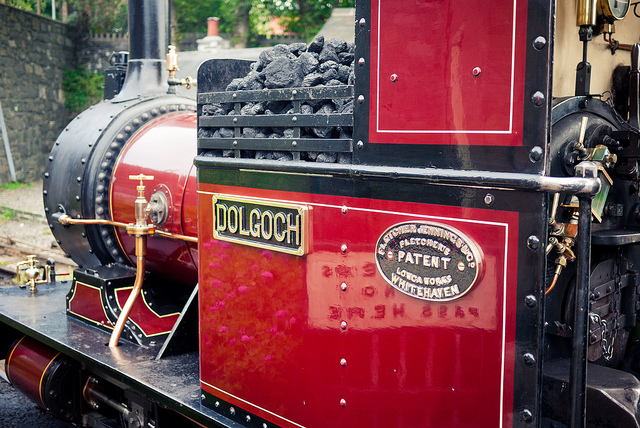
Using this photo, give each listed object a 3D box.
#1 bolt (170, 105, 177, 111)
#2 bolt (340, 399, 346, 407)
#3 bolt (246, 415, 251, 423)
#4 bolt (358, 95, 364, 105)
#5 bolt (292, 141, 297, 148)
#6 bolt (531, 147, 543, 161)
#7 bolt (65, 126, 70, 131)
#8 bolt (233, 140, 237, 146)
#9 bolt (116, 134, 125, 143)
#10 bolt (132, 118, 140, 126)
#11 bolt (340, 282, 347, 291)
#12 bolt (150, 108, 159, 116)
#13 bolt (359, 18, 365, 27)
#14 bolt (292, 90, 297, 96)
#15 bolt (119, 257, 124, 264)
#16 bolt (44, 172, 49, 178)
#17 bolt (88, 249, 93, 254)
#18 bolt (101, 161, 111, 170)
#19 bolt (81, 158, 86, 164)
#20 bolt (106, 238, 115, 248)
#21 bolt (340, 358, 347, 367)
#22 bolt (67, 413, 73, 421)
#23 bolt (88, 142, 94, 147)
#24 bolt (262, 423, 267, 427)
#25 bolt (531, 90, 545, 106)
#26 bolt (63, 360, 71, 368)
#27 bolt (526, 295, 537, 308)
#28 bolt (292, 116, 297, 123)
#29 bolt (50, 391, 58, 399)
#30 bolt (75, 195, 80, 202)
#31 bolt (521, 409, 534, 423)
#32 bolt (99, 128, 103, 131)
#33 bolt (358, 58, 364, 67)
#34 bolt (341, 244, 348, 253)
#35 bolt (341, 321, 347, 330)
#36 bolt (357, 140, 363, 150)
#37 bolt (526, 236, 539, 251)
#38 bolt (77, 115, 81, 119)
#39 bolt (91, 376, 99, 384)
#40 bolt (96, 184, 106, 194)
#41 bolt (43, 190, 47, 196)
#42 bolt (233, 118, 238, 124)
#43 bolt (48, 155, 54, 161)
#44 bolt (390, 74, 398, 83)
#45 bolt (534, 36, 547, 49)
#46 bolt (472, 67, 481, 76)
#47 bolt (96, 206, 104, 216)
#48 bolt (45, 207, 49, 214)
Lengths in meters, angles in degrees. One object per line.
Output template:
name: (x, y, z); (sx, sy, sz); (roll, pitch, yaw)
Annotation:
bolt: (-1.095, -0.785, 4.669); (0.032, 0.045, 0.036); (2, 13, 5)
bolt: (0.102, 0.869, 2.893); (0.021, 0.027, 0.029); (3, 8, -1)
bolt: (-0.369, 1.042, 3.203); (0.028, 0.028, 0.027); (-8, 11, -44)
bolt: (0.181, -0.512, 2.828); (0.029, 0.035, 0.008); (1, 2, 33)
bolt: (-0.126, -0.335, 3.010); (0.025, 0.030, 0.007); (-1, 1, 25)
bolt: (0.849, -0.236, 2.472); (0.035, 0.049, 0.042); (8, -26, 25)
bolt: (-1.915, -0.651, 4.763); (0.046, 0.028, 0.030); (-7, 26, 37)
bolt: (-0.437, -0.361, 3.213); (0.015, 0.019, 0.012); (14, -14, -9)
bolt: (-1.421, -0.540, 4.463); (0.042, 0.058, 0.047); (7, 31, -15)
bolt: (-1.330, -0.657, 4.511); (0.042, 0.035, 0.043); (15, 18, 40)
bolt: (0.106, 0.331, 2.860); (0.026, 0.029, 0.007); (4, 1, 43)
bolt: (-1.214, -0.741, 4.584); (0.045, 0.038, 0.050); (9, 13, 24)
bolt: (0.184, -0.852, 2.801); (0.022, 0.035, 0.007); (-2, -7, 19)
bolt: (-0.126, -0.580, 3.011); (0.019, 0.023, 0.012); (0, -4, 10)
bolt: (-1.456, 0.335, 4.582); (0.035, 0.031, 0.038); (4, 6, 23)
bolt: (-2.038, -0.291, 4.691); (0.033, 0.034, 0.032); (6, 17, 18)
bolt: (-1.675, 0.273, 4.571); (0.023, 0.027, 0.006); (5, 7, 28)
bolt: (-1.511, -0.339, 4.423); (0.047, 0.064, 0.049); (5, 9, -27)
bolt: (-1.677, -0.376, 4.447); (0.044, 0.041, 0.011); (-2, -6, 39)
bolt: (-1.518, 0.207, 4.537); (0.062, 0.068, 0.026); (5, -6, -37)
bolt: (0.104, 0.680, 2.882); (0.023, 0.037, 0.011); (5, -2, 19)
bolt: (-1.736, 1.403, 4.350); (0.033, 0.037, 0.036); (-18, 42, -7)
bolt: (-1.630, -0.497, 4.466); (0.045, 0.034, 0.011); (-1, -5, 35)
bolt: (-0.280, 1.054, 3.147); (0.029, 0.018, 0.004); (-1, -5, 31)
bolt: (0.850, -0.456, 2.462); (0.049, 0.054, 0.009); (0, -5, 20)
bolt: (-1.743, 1.031, 4.328); (0.040, 0.043, 0.013); (35, -21, -25)
bolt: (0.829, 0.342, 2.479); (0.036, 0.040, 0.022); (-30, -21, 22)
bolt: (-0.124, -0.452, 3.006); (0.026, 0.029, 0.006); (0, -5, 26)
bolt: (-1.816, 1.233, 4.285); (0.010, 0.046, 0.041); (4, -15, 46)
bolt: (-1.726, -0.117, 4.466); (0.030, 0.034, 0.007); (22, 10, 26)
bolt: (0.825, 0.802, 2.509); (0.047, 0.051, 0.010); (0, -5, 19)
bolt: (-1.570, -0.604, 4.498); (0.015, 0.016, 0.017); (-4, 21, -16)
bolt: (0.182, -0.679, 2.810); (0.025, 0.036, 0.009); (-2, -6, 41)
bolt: (0.106, 0.154, 2.848); (0.029, 0.039, 0.005); (-1, -5, 28)
bolt: (0.105, 0.507, 2.873); (0.026, 0.041, 0.006); (-2, -6, 38)
bolt: (0.178, -0.312, 2.834); (0.033, 0.047, 0.006); (7, 14, 44)
bolt: (0.836, 0.113, 2.472); (0.048, 0.058, 0.013); (3, 1, 37)
bolt: (-1.838, -0.739, 4.785); (0.022, 0.039, 0.051); (4, -5, -24)
bolt: (-1.533, 1.126, 4.272); (0.043, 0.046, 0.066); (25, -16, -41)
bolt: (-1.544, -0.176, 4.425); (0.058, 0.064, 0.035); (3, -5, -17)
bolt: (-2.064, -0.159, 4.714); (0.018, 0.041, 0.057); (6, -6, -40)
bolt: (-0.438, -0.478, 3.212); (0.028, 0.024, 0.005); (-1, -5, 32)
bolt: (-2.001, -0.418, 4.681); (0.053, 0.044, 0.008); (-1, -5, 35)
bolt: (0.318, -0.588, 2.728); (0.028, 0.032, 0.007); (3, 7, 37)
bolt: (0.855, -0.666, 2.442); (0.043, 0.051, 0.014); (4, -1, 22)
bolt: (0.632, -0.577, 2.549); (0.032, 0.033, 0.009); (1, -5, 16)
bolt: (-1.555, -0.021, 4.431); (0.049, 0.059, 0.029); (-2, -8, -7)
bolt: (-2.066, -0.028, 4.746); (0.007, 0.035, 0.032); (-9, -31, -50)
